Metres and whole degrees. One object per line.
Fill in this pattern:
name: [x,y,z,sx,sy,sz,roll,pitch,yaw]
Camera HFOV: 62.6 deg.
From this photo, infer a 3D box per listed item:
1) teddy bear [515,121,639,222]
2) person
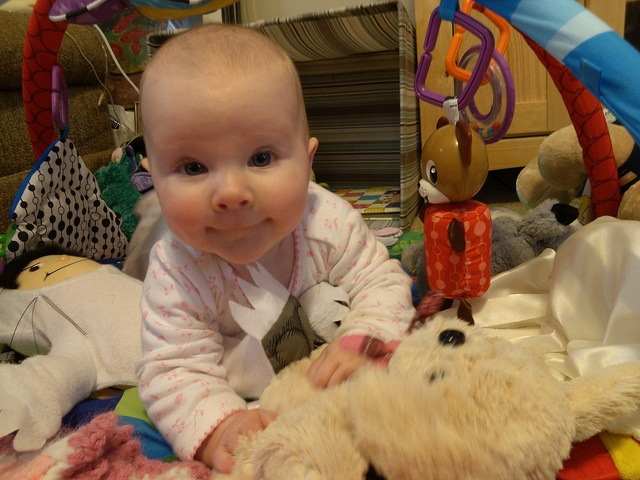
teddy bear: [0.625,-0.167,1.308,0.116,0.253,0.285,-12,22,-43]
person: [-0.028,-0.103,1.029,0.507,0.807,0.614,-15,25,-18]
